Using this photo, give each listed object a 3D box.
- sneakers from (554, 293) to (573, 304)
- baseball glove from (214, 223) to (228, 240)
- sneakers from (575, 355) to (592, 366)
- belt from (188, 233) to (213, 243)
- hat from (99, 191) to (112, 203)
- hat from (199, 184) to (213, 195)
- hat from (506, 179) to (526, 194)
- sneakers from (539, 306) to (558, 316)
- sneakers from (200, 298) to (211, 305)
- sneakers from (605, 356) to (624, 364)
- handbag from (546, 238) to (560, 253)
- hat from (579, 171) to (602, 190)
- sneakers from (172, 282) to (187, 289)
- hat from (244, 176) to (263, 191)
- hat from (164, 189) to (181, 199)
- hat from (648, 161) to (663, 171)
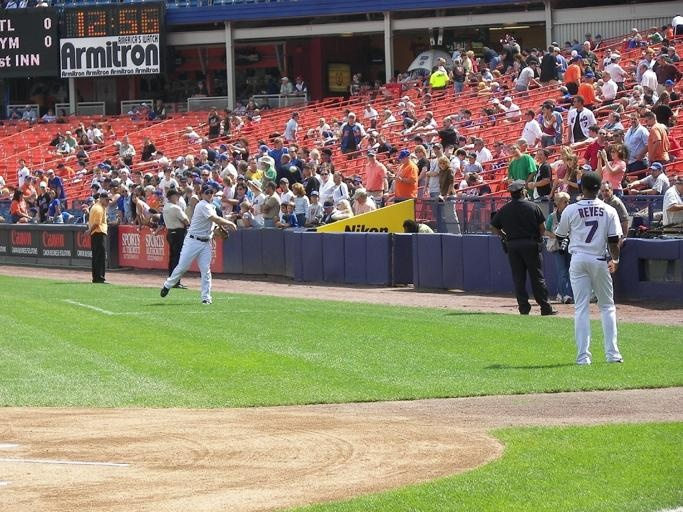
[{"bbox_3d":[4.874,0.952,31.699,0.137,0.177,0.396,-2,-6,-24],"label":"sneakers"},{"bbox_3d":[-2.831,-0.528,33.357,0.349,0.319,0.270,-1,3,10],"label":"baseball glove"},{"bbox_3d":[4.423,1.874,26.353,0.303,0.200,0.232,-2,2,-8],"label":"sneakers"},{"bbox_3d":[-3.144,-0.391,31.980,0.484,0.173,0.123,-2,1,-6],"label":"belt"},{"bbox_3d":[-5.868,-1.439,36.044,0.269,0.263,0.222,-4,13,-44],"label":"hat"},{"bbox_3d":[-2.925,-1.429,31.569,0.297,0.142,0.202,-9,9,-15],"label":"hat"},{"bbox_3d":[3.554,-1.401,29.492,0.313,0.260,0.445,-2,1,1],"label":"hat"},{"bbox_3d":[4.322,1.122,30.010,0.399,0.274,0.149,-11,13,-23],"label":"sneakers"},{"bbox_3d":[-2.987,0.979,32.019,0.226,0.161,0.332,-2,2,-8],"label":"sneakers"},{"bbox_3d":[5.049,1.878,26.401,0.376,0.124,0.211,-3,2,-40],"label":"sneakers"},{"bbox_3d":[4.500,-0.221,30.821,0.183,0.347,0.274,5,8,38],"label":"handbag"},{"bbox_3d":[4.529,-1.346,26.343,0.331,0.355,0.317,-1,2,7],"label":"hat"},{"bbox_3d":[-3.926,0.731,35.184,0.417,0.172,0.127,0,-2,8],"label":"sneakers"},{"bbox_3d":[-2.322,-1.855,38.269,0.355,0.092,0.361,42,11,23],"label":"hat"},{"bbox_3d":[-3.939,-1.428,33.453,0.207,0.262,0.260,6,-5,30],"label":"hat"},{"bbox_3d":[6.974,-1.968,31.973,0.262,0.126,0.186,12,-4,-24],"label":"hat"}]
